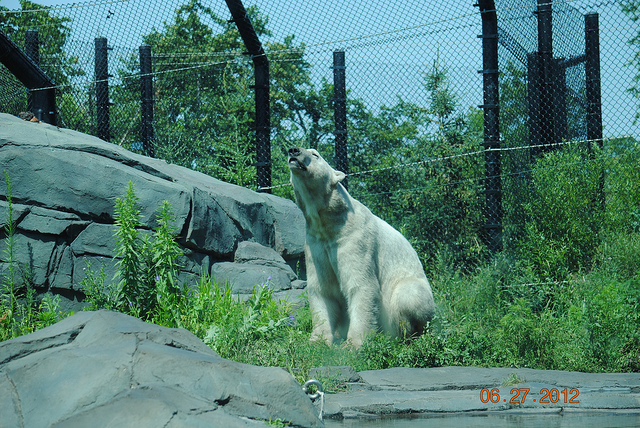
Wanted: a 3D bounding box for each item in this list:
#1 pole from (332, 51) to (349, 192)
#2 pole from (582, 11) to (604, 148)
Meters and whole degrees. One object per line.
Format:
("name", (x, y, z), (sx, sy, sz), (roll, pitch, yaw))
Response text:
("pole", (0.311, -1.691, 18.925), (0.231, 2.165, 0.265), (-2, 3, -1))
("pole", (4.496, -2.273, 18.319), (0.242, 1.975, 0.529), (-3, -8, 10))
